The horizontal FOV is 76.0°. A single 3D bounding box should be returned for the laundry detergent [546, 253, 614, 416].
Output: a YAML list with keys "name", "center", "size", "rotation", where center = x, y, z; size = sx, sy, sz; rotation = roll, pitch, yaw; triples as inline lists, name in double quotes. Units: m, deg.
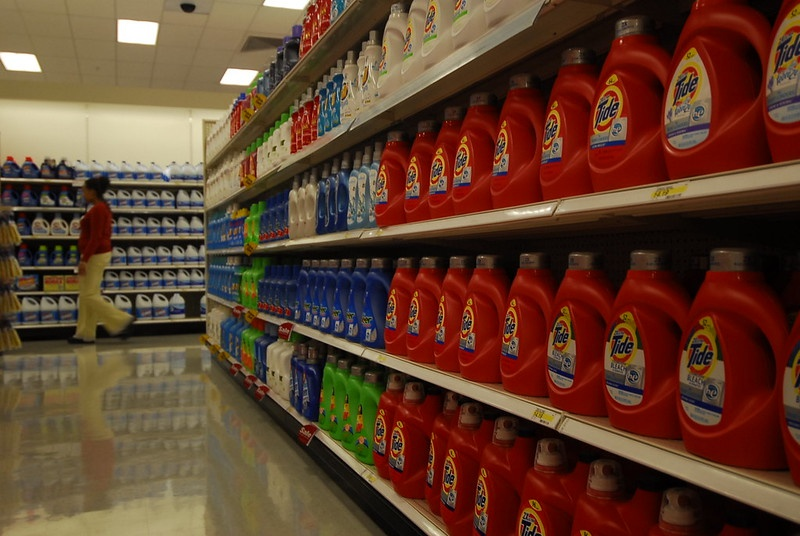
- name: "laundry detergent"
  center: [0.517, 0.185, 1.468]
  size: [0.184, 0.452, 0.099]
  rotation: [0, 1, 16]

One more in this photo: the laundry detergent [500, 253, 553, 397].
- name: "laundry detergent"
  center: [0.403, 0.179, 1.625]
  size: [0.173, 0.449, 0.150]
  rotation: [0, 1, 14]
